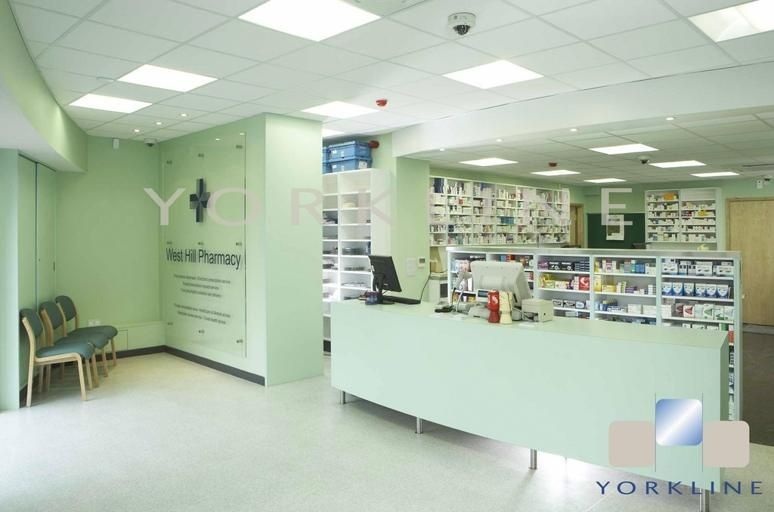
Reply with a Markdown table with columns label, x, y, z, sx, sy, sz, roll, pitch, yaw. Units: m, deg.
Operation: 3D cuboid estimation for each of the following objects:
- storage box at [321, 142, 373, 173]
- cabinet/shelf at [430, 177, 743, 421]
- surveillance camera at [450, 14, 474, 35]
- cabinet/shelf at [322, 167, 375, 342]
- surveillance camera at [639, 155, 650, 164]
| label | x | y | z | sx | sy | sz | roll | pitch | yaw |
| --- | --- | --- | --- | --- | --- | --- | --- | --- | --- |
| storage box | -0.755 | -1.807 | 9.602 | 0.873 | 0.467 | 0.527 | 4 | 4 | 42 |
| cabinet/shelf | 3.352 | 0.700 | 8.067 | 3.745 | 1.820 | 0.926 | 7 | 11 | 40 |
| surveillance camera | 0.754 | -2.305 | 5.216 | 0.251 | 0.155 | 0.329 | 1 | 8 | 7 |
| cabinet/shelf | -0.749 | 0.078 | 9.580 | 1.399 | 3.283 | 0.576 | 6 | 11 | 37 |
| surveillance camera | 5.039 | -1.893 | 10.219 | 0.213 | 0.101 | 0.152 | -5 | 0 | 16 |
